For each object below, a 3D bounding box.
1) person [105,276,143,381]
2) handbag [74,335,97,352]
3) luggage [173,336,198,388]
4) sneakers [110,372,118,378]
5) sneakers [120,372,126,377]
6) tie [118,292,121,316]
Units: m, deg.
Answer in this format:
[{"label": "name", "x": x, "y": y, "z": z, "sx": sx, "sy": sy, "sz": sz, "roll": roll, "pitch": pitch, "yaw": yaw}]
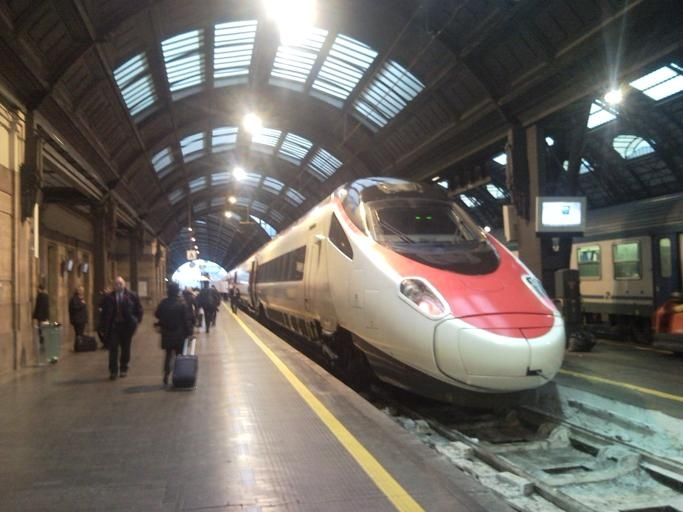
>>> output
[{"label": "person", "x": -3.903, "y": 1.256, "z": 8.499, "sx": 0.566, "sy": 1.514, "sz": 0.726, "roll": 2, "pitch": 0, "yaw": -26}, {"label": "handbag", "x": -6.421, "y": 2.118, "z": 11.980, "sx": 0.338, "sy": 0.444, "sz": 0.460, "roll": 4, "pitch": -3, "yaw": 41}, {"label": "luggage", "x": -2.555, "y": 1.757, "z": 7.734, "sx": 0.362, "sy": 0.700, "sz": 0.503, "roll": 2, "pitch": 0, "yaw": -20}, {"label": "sneakers", "x": -3.968, "y": 2.067, "z": 8.290, "sx": 0.075, "sy": 0.074, "sz": 0.188, "roll": 4, "pitch": -6, "yaw": -19}, {"label": "sneakers", "x": -3.908, "y": 2.115, "z": 8.533, "sx": 0.050, "sy": 0.070, "sz": 0.151, "roll": 4, "pitch": -12, "yaw": -33}, {"label": "tie", "x": -3.847, "y": 0.832, "z": 8.253, "sx": 0.072, "sy": 0.328, "sz": 0.094, "roll": 2, "pitch": 0, "yaw": -24}]
